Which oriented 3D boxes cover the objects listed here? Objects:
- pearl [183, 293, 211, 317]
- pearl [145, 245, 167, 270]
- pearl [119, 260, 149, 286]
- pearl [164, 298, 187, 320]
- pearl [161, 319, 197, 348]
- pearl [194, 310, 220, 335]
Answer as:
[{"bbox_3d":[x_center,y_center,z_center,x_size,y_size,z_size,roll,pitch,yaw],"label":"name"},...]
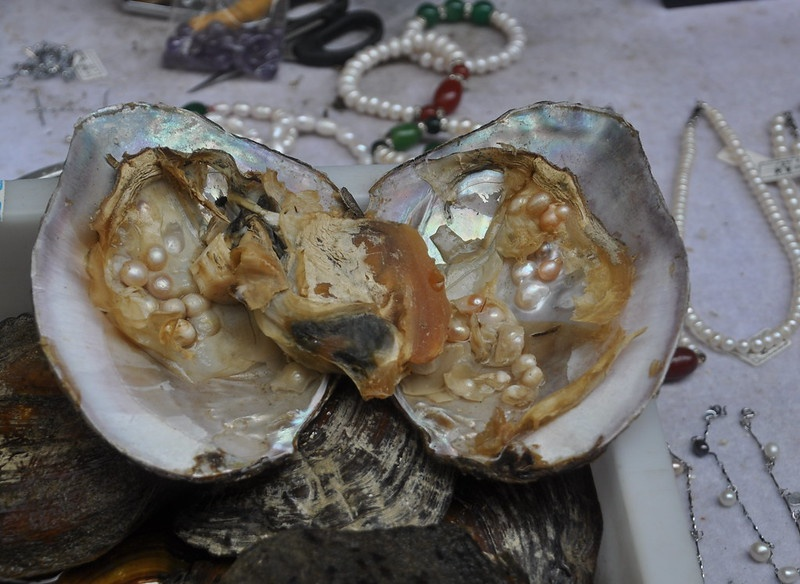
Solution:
[{"bbox_3d":[-0.303,0.019,1.747,0.037,0.019,0.035,25,54,3],"label":"pearl"},{"bbox_3d":[-0.361,-0.052,1.734,0.043,0.035,0.039,-2,91,-1],"label":"pearl"},{"bbox_3d":[-0.390,-0.026,1.710,0.043,0.022,0.034,2,72,-11],"label":"pearl"},{"bbox_3d":[-0.334,0.026,1.729,0.030,0.016,0.028,5,40,-34],"label":"pearl"},{"bbox_3d":[-0.323,0.061,1.718,0.049,0.021,0.034,8,83,-36],"label":"pearl"},{"bbox_3d":[-0.289,0.047,1.756,0.044,0.023,0.034,-1,78,-22],"label":"pearl"}]
